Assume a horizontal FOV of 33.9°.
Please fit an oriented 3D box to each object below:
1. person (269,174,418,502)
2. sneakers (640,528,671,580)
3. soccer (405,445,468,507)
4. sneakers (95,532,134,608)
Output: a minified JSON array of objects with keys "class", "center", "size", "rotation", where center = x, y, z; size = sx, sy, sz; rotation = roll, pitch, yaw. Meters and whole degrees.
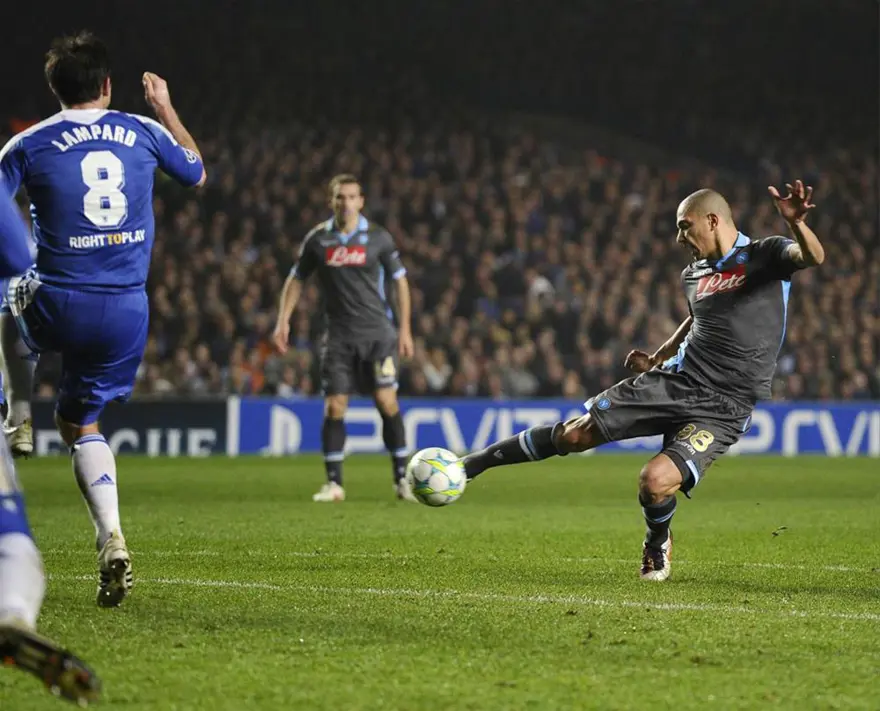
[{"class":"person","center":[-0.693,-0.132,10.878],"size":[0.991,2.442,0.576],"rotation":[0,5,-3]},{"class":"sneakers","center":[1.200,1.089,7.966],"size":[0.115,0.290,0.126],"rotation":[-2,-44,23]},{"class":"soccer","center":[-0.018,0.705,8.399],"size":[0.350,0.352,0.241],"rotation":[1,5,11]},{"class":"sneakers","center":[-1.602,1.064,7.115],"size":[0.158,0.374,0.207],"rotation":[7,-16,-4]}]
